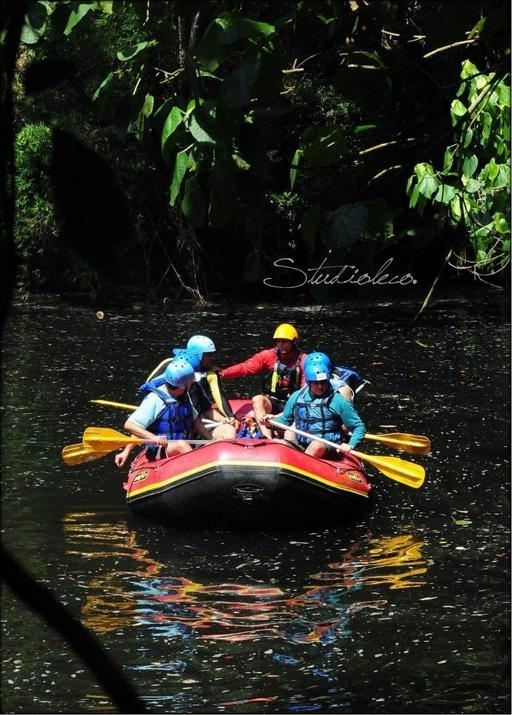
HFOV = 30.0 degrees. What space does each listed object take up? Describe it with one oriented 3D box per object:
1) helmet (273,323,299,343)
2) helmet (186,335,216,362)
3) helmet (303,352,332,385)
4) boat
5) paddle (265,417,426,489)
[{"bbox_3d":[0.264,-0.242,8.921,0.225,0.145,0.293,1,-6,16],"label":"helmet"},{"bbox_3d":[-0.531,-0.092,8.670,0.272,0.185,0.172,1,20,12],"label":"helmet"},{"bbox_3d":[0.457,0.081,7.343,0.216,0.204,0.247,-2,26,-2],"label":"helmet"},{"bbox_3d":[-0.090,0.914,7.044,1.829,0.618,0.712,1,8,4],"label":"boat"},{"bbox_3d":[0.681,0.778,7.568,1.740,0.222,0.081,20,3,7],"label":"paddle"}]
